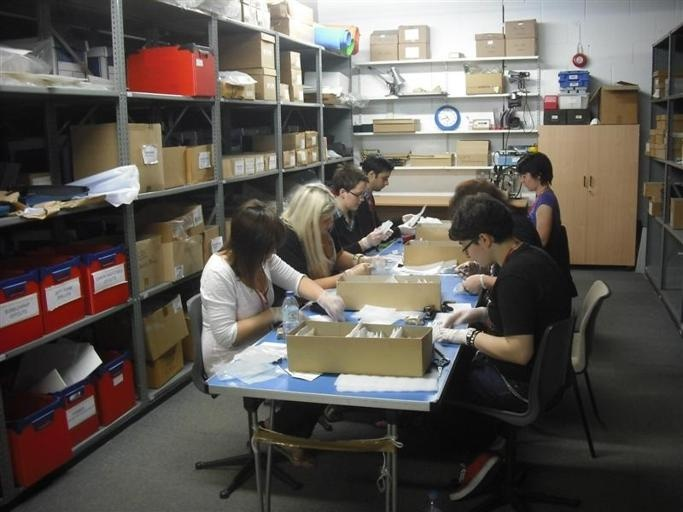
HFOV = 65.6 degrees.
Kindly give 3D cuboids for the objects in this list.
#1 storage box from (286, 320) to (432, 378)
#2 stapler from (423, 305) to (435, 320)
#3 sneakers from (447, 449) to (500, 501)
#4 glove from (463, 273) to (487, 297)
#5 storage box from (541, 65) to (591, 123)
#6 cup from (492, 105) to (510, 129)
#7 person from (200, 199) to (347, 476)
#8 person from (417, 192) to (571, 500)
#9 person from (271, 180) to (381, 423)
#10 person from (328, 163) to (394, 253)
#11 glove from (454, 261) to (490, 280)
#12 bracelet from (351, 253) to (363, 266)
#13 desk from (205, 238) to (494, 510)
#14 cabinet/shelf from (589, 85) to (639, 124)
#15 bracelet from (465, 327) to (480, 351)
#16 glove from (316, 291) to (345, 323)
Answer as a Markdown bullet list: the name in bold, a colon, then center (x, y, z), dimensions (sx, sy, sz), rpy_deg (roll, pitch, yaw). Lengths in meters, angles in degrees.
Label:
- **storage box**: center (0.071, 0.381, 2.149), dimensions (0.534, 0.177, 0.271), rpy_deg (0, 3, 17)
- **stapler**: center (0.431, 0.281, 2.590), dimensions (0.043, 0.062, 0.060), rpy_deg (2, 57, 25)
- **sneakers**: center (0.619, 1.032, 2.478), dimensions (0.232, 0.084, 0.234), rpy_deg (-41, -18, -10)
- **glove**: center (0.753, 0.172, 2.954), dimensions (0.091, 0.055, 0.127), rpy_deg (-7, 1, 1)
- **storage box**: center (2.601, -1.872, 6.260), dimensions (0.588, 0.624, 0.623), rpy_deg (5, 13, 31)
- **cup**: center (1.924, -1.641, 6.334), dimensions (0.201, 0.301, 0.097), rpy_deg (2, -1, 19)
- **person**: center (-0.337, 0.407, 2.756), dimensions (0.685, 1.358, 0.520), rpy_deg (1, 18, -2)
- **person**: center (0.759, 0.477, 2.532), dimensions (0.689, 1.421, 0.580), rpy_deg (6, 14, 41)
- **person**: center (-0.202, 0.246, 3.131), dimensions (0.737, 1.329, 0.528), rpy_deg (7, -11, 17)
- **person**: center (0.268, -0.451, 4.566), dimensions (0.376, 0.753, 0.504), rpy_deg (18, -8, -36)
- **glove**: center (0.805, 0.088, 3.227), dimensions (0.247, 0.141, 0.126), rpy_deg (1, 15, 4)
- **bracelet**: center (0.110, 0.025, 3.675), dimensions (0.052, 0.080, 0.086), rpy_deg (12, 41, 17)
- **desk**: center (0.042, 0.406, 2.007), dimensions (0.628, 0.232, 0.973), rpy_deg (1, 11, 12)
- **cabinet/shelf**: center (3.115, -1.708, 6.138), dimensions (0.658, 0.522, 0.441), rpy_deg (2, 12, 18)
- **bracelet**: center (0.583, 0.375, 2.345), dimensions (0.054, 0.089, 0.089), rpy_deg (3, 44, 23)
- **glove**: center (-0.044, 0.252, 2.635), dimensions (0.098, 0.043, 0.138), rpy_deg (-44, 28, 3)
